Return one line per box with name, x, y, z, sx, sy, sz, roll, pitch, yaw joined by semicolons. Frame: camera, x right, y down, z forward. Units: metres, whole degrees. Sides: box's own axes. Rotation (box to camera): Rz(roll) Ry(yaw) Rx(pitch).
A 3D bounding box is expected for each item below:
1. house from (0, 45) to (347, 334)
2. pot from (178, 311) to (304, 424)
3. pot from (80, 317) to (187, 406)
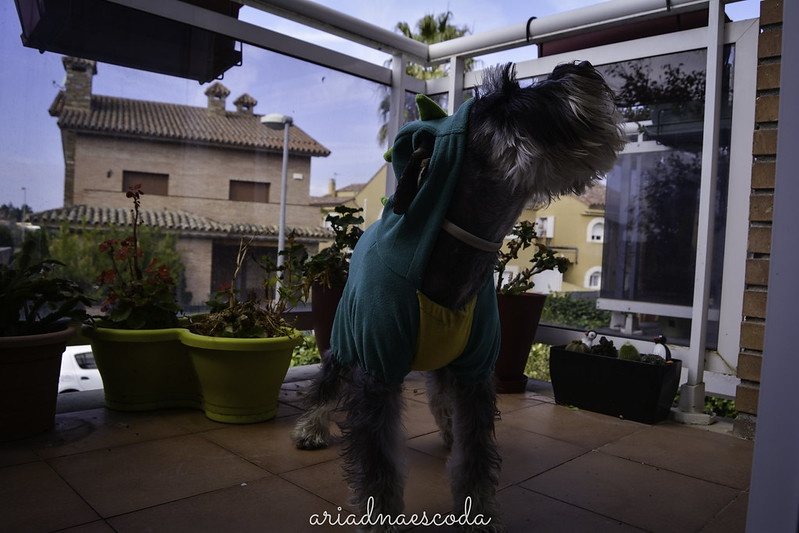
house;-1.830;-0.665;4.602;2.625;2.256;1.647;2;-7;-26
pot;-0.890;0.614;3.207;0.604;0.407;0.561;0;-21;0
pot;-1.490;0.595;3.325;0.578;0.393;0.475;2;-17;-15
